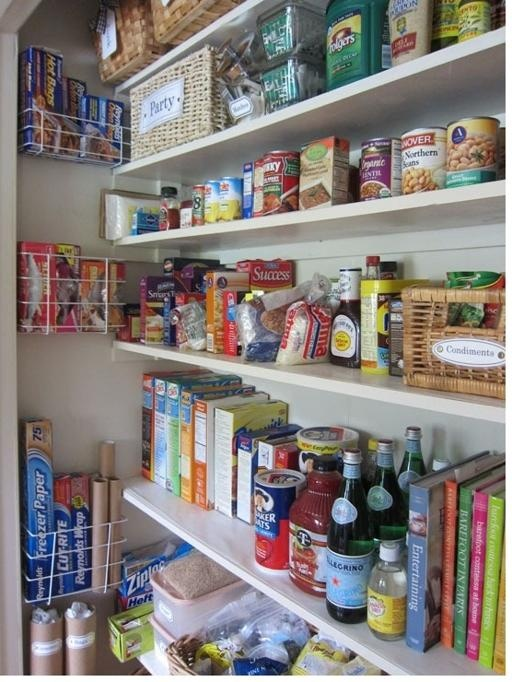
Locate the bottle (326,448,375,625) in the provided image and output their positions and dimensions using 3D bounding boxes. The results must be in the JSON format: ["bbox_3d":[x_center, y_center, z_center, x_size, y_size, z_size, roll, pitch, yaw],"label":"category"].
[{"bbox_3d":[0.164,0.347,0.980,0.079,0.291,0.068,-3,4,-15],"label":"bottle"}]

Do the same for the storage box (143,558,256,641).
[{"bbox_3d":[-0.161,0.641,1.495,0.253,0.160,0.186,0,3,-41],"label":"storage box"}]

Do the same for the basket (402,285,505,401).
[{"bbox_3d":[0.299,0.003,0.838,0.154,0.115,0.156,0,0,-37],"label":"basket"}]

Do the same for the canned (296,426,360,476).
[{"bbox_3d":[0.164,0.245,1.263,0.111,0.078,0.109,-1,2,-3],"label":"canned"}]

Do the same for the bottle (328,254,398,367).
[{"bbox_3d":[0.210,-0.056,1.133,0.082,0.224,0.217,-3,4,-10],"label":"bottle"}]

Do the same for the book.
[{"bbox_3d":[0.307,0.359,0.853,0.040,0.252,0.291,7,7,41],"label":"book"}]

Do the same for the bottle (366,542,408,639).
[{"bbox_3d":[0.219,0.436,0.927,0.063,0.116,0.052,-2,4,-2],"label":"bottle"}]

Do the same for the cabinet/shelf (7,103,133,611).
[{"bbox_3d":[-0.591,0.040,1.720,0.354,1.411,0.266,-1,0,-34],"label":"cabinet/shelf"}]

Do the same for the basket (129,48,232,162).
[{"bbox_3d":[-0.183,-0.618,1.547,0.238,0.202,0.415,-10,12,-40],"label":"basket"}]
